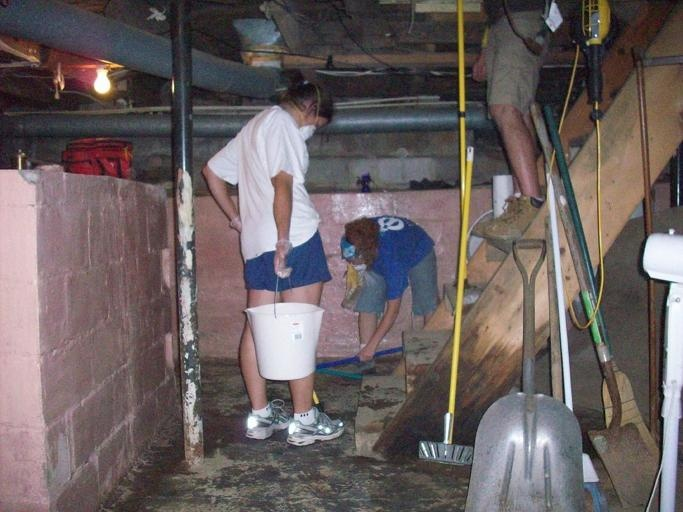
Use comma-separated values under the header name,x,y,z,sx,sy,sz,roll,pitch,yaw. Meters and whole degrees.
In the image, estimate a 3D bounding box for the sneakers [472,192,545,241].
name,x,y,z,sx,sy,sz,roll,pitch,yaw
sneakers,0.948,-0.200,4.637,0.444,0.204,0.183,-10,26,-8

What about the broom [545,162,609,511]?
name,x,y,z,sx,sy,sz,roll,pitch,yaw
broom,1.212,0.398,4.408,0.203,2.046,0.237,2,-11,-12

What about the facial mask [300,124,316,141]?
name,x,y,z,sx,sy,sz,roll,pitch,yaw
facial mask,-0.197,-0.724,4.876,0.065,0.059,0.106,6,8,17

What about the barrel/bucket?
name,x,y,z,sx,sy,sz,roll,pitch,yaw
barrel/bucket,-0.317,0.456,4.701,0.425,0.328,0.392,-1,7,0

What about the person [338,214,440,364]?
name,x,y,z,sx,sy,sz,roll,pitch,yaw
person,0.324,0.208,5.682,0.508,0.966,0.894,3,0,20

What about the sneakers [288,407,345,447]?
name,x,y,z,sx,sy,sz,roll,pitch,yaw
sneakers,-0.157,1.021,4.948,0.361,0.204,0.153,-3,7,-27

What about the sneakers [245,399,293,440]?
name,x,y,z,sx,sy,sz,roll,pitch,yaw
sneakers,-0.404,0.979,5.016,0.137,0.183,0.360,6,10,29
